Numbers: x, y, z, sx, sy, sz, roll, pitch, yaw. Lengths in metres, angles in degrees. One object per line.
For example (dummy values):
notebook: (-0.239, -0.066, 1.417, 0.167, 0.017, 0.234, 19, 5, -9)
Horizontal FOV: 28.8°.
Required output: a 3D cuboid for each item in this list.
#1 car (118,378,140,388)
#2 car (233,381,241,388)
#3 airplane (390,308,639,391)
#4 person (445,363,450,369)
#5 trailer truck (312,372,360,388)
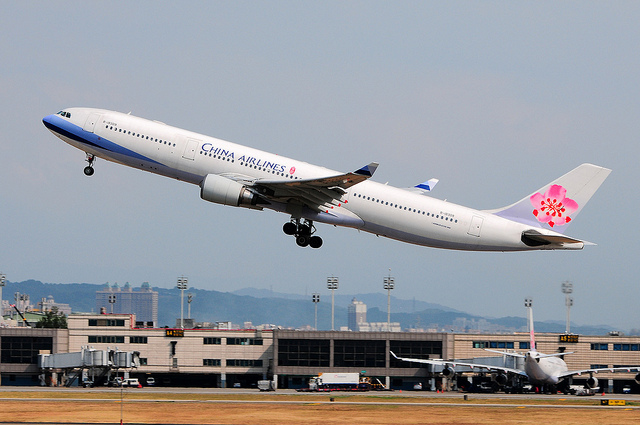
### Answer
car: (-25.588, 23.493, 169.588, 3.341, 1.281, 1.745, 3, -4, 0)
car: (-11.547, 24.117, 175.279, 1.045, 0.998, 1.940, 1, -15, -2)
airplane: (26.055, 17.899, 167.186, 23.594, 11.588, 12.088, 4, -16, -14)
person: (16.728, 20.089, 163.922, 0.407, 0.675, 0.787, -1, -15, 6)
trailer truck: (2.191, 22.582, 167.617, 6.342, 1.909, 2.105, 2, -6, 0)
